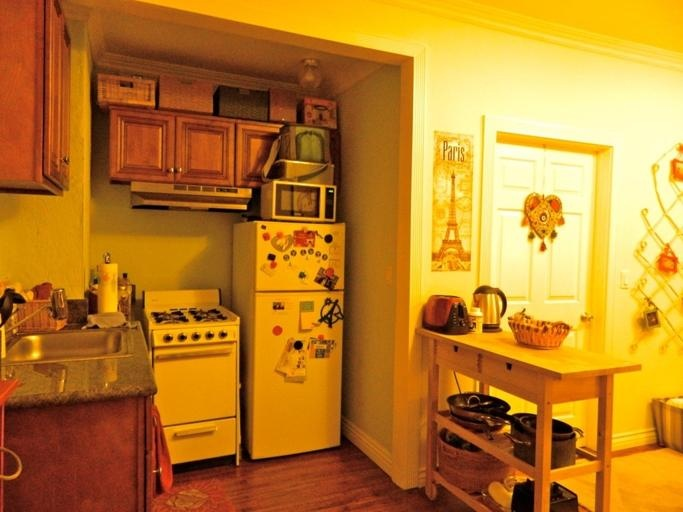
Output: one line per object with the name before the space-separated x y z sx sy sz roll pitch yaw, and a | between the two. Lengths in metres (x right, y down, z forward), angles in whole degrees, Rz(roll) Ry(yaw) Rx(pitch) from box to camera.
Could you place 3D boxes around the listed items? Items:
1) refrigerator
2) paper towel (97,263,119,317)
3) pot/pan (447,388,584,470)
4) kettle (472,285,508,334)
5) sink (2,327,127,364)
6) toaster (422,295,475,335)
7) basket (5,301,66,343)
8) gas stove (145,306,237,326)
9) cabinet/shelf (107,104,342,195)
refrigerator | -0.329 0.620 4.248 0.674 1.747 0.221 1 5 -23
paper towel | -1.522 0.214 3.699 0.120 0.321 0.294 1 5 -23
pot/pan | 0.970 0.974 3.337 0.378 0.170 0.697 0 5 -28
kettle | 0.972 0.353 3.796 0.258 0.292 0.238 0 2 -12
sink | -1.507 0.519 3.169 0.613 0.145 0.485 2 4 -20
toaster | 0.688 0.377 3.751 0.223 0.236 0.395 3 0 -21
basket | -1.750 0.365 3.230 0.278 0.170 0.275 0 1 -21
gas stove | -1.143 0.435 4.345 0.588 0.041 0.681 2 4 -20
cabinet/shelf | -0.996 -0.810 4.409 1.471 0.563 0.217 2 5 -11
